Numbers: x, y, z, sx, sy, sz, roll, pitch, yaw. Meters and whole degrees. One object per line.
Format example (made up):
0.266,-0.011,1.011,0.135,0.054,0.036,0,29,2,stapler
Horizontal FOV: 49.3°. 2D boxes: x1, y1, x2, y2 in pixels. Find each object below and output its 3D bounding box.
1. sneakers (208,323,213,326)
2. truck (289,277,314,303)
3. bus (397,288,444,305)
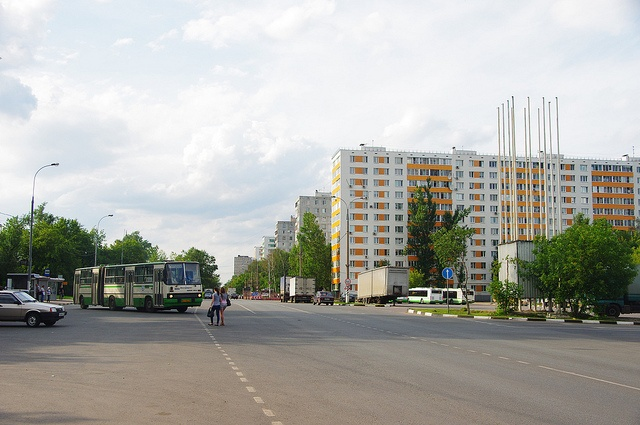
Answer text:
-5.842,5.968,37.193,0.295,0.127,0.128,6,-7,-14,sneakers
-2.292,9.422,85.033,2.232,3.139,4.077,4,-11,-21,truck
14.381,12.063,97.375,2.811,2.810,9.709,3,-4,-16,bus
